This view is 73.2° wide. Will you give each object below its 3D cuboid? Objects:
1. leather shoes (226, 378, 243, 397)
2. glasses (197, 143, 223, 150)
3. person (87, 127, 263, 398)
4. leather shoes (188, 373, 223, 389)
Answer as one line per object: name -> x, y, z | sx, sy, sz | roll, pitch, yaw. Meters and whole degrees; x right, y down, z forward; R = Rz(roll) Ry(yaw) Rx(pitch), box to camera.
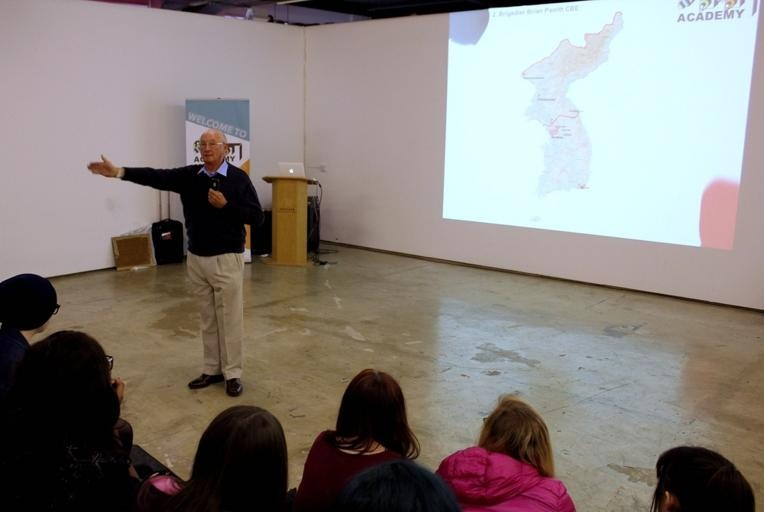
leather shoes -> -1.220, 1.057, 4.200 | 0.155, 0.116, 0.138 | 1, 14, -3
glasses -> -1.380, -0.897, 4.168 | 0.189, 0.066, 0.105 | -1, 14, -12
person -> -1.492, 0.025, 4.274 | 0.925, 2.083, 0.570 | 6, 15, 17
leather shoes -> -1.488, 1.047, 4.377 | 0.290, 0.119, 0.105 | 7, -3, -41
